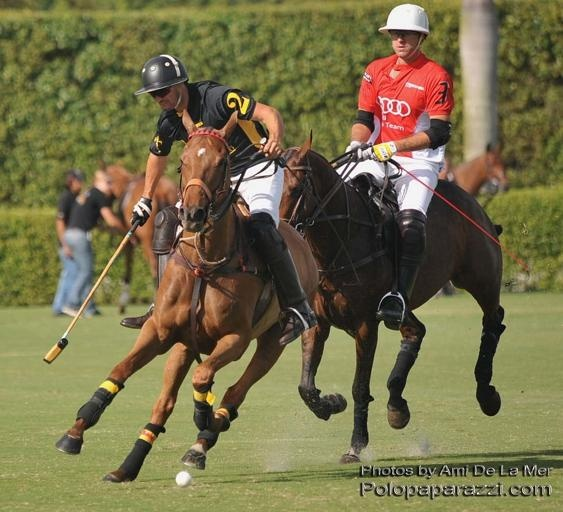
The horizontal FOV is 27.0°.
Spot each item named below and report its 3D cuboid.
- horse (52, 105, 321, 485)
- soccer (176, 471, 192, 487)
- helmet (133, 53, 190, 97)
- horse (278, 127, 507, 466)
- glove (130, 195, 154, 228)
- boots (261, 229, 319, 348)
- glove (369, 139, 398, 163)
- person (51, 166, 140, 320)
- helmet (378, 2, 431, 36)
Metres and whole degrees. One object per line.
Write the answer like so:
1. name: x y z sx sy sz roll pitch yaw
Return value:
1. horse: -0.462 0.463 8.311 0.774 2.375 3.327 11 0 14
2. soccer: -0.614 1.417 7.465 0.087 0.088 0.086 -25 -9 -27
3. helmet: -0.791 -1.240 7.998 0.249 0.195 0.335 -9 4 41
4. horse: 0.862 0.343 9.379 0.819 2.519 3.388 7 9 38
5. glove: -0.998 -0.316 8.587 0.104 0.203 0.148 19 1 -36
6. boots: 0.044 0.204 8.163 0.219 0.775 0.450 -11 15 20
7. glove: 0.756 -0.790 8.891 0.131 0.066 0.162 13 -12 -28
8. person: -2.473 -0.093 15.760 0.467 1.862 1.430 11 -13 4
9. helmet: 0.988 -1.850 9.090 0.243 0.165 0.314 0 -8 38
